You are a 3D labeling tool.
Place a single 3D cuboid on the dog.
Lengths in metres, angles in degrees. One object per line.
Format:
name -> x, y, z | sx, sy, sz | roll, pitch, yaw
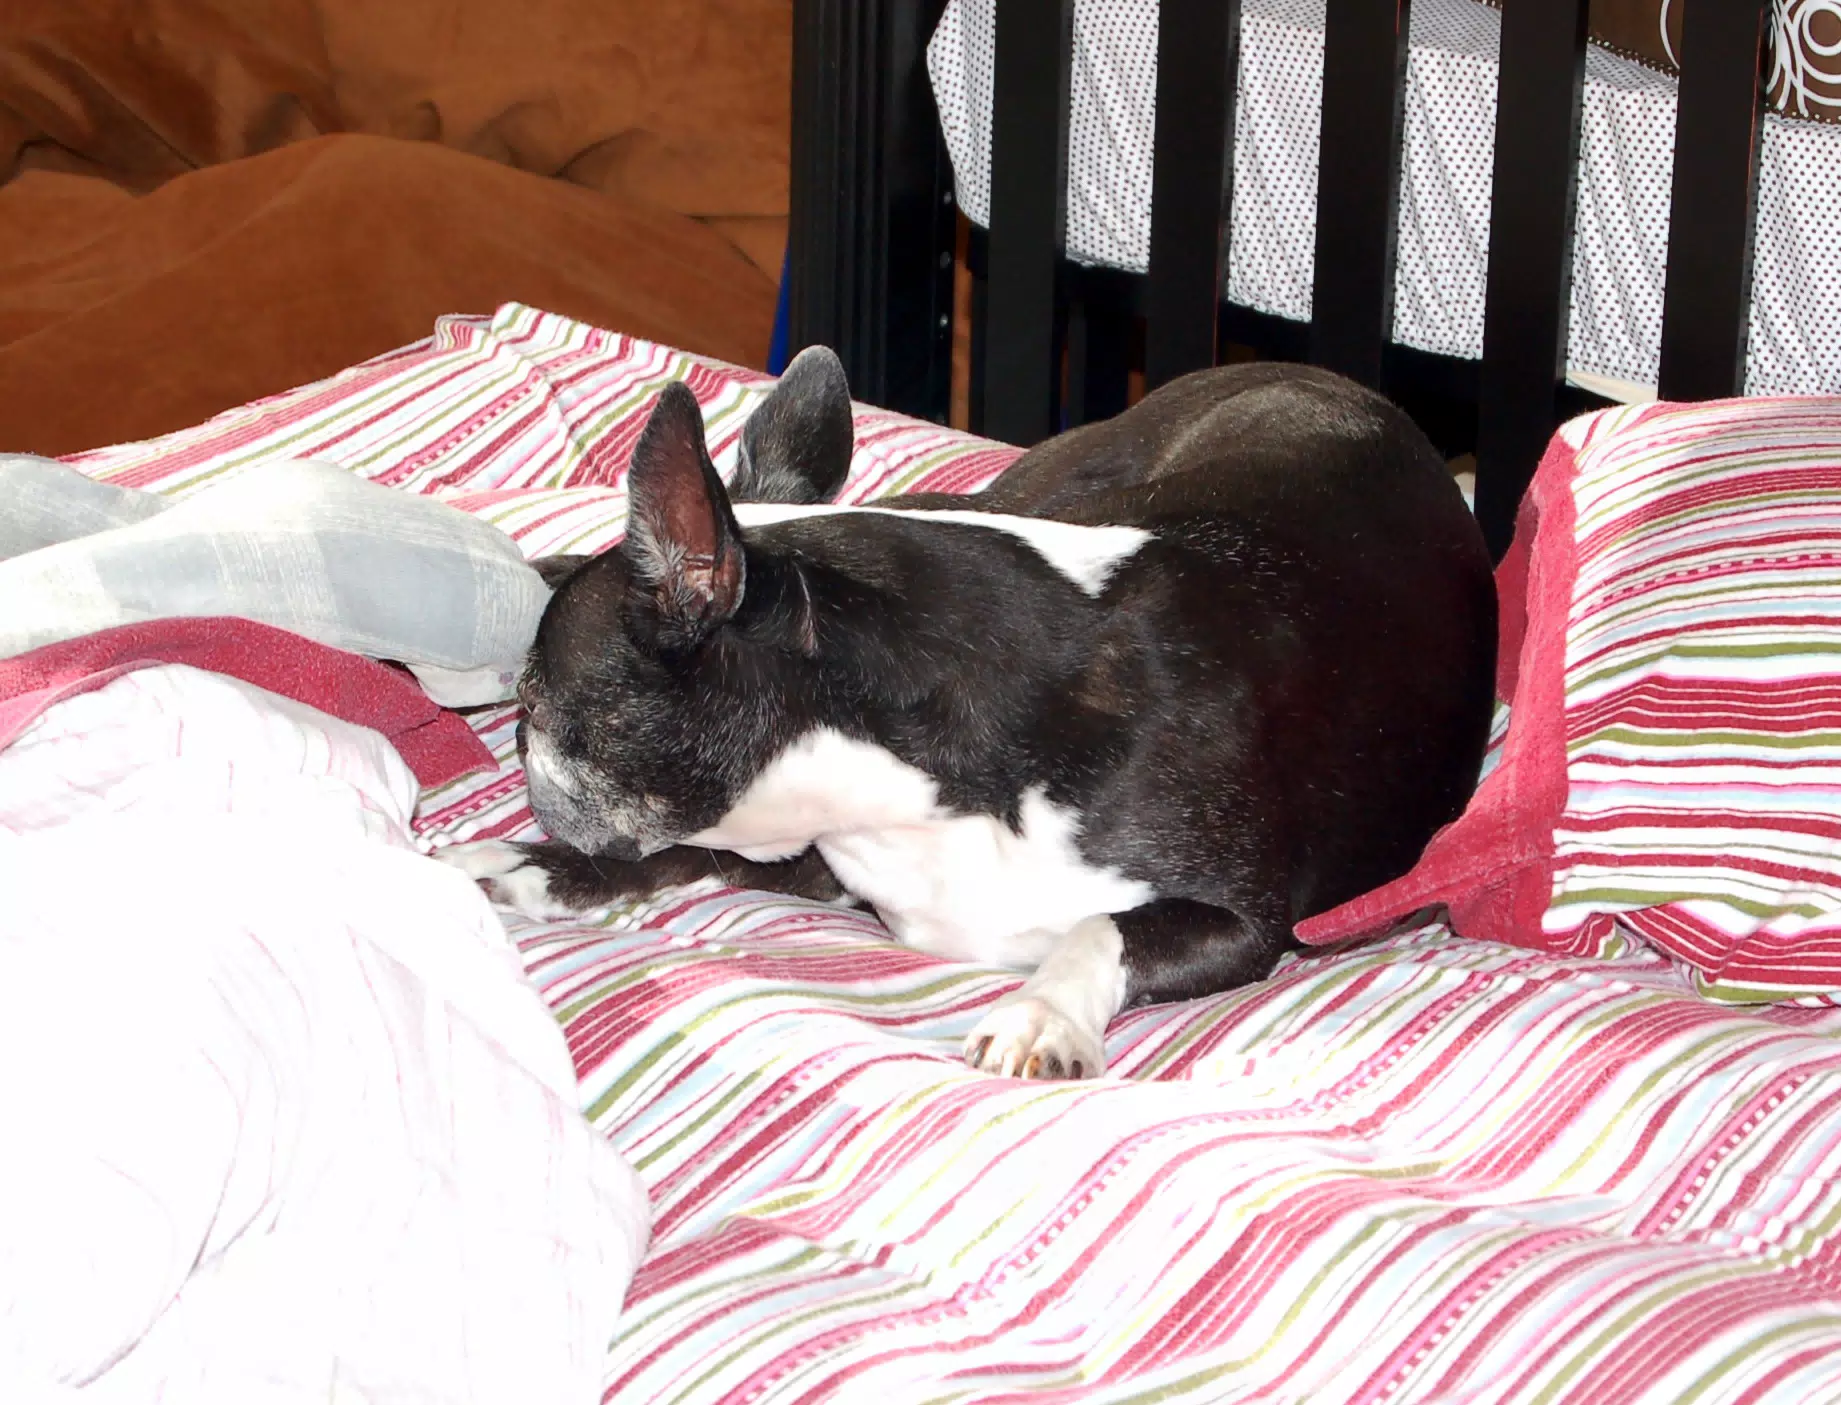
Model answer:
dog -> 0.227, -0.089, 2.300 | 1.292, 0.647, 0.928 | -24, 36, -37
